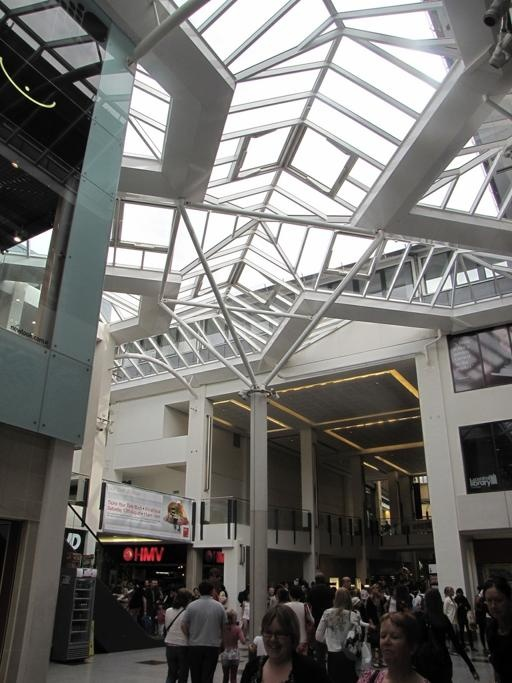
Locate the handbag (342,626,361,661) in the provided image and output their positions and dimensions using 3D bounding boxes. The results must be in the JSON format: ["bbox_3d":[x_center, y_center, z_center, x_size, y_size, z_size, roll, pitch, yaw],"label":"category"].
[{"bbox_3d":[1.087,3.418,5.342,0.153,0.281,0.118,21,-45,15],"label":"handbag"}]

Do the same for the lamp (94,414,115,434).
[{"bbox_3d":[-6.773,3.643,20.774,0.272,0.748,1.193,-4,-23,11],"label":"lamp"}]

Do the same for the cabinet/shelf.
[{"bbox_3d":[-4.633,6.702,12.035,0.834,1.609,0.561,-32,-49,32],"label":"cabinet/shelf"}]

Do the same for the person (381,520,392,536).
[{"bbox_3d":[10.128,14.401,36.455,0.629,0.919,0.977,17,-27,-34],"label":"person"}]

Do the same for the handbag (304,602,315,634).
[{"bbox_3d":[0.709,3.622,6.237,0.105,0.326,0.326,-4,-23,11],"label":"handbag"}]

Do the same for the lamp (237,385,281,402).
[{"bbox_3d":[0.130,2.024,19.219,1.548,0.369,1.532,23,-28,-32],"label":"lamp"}]
